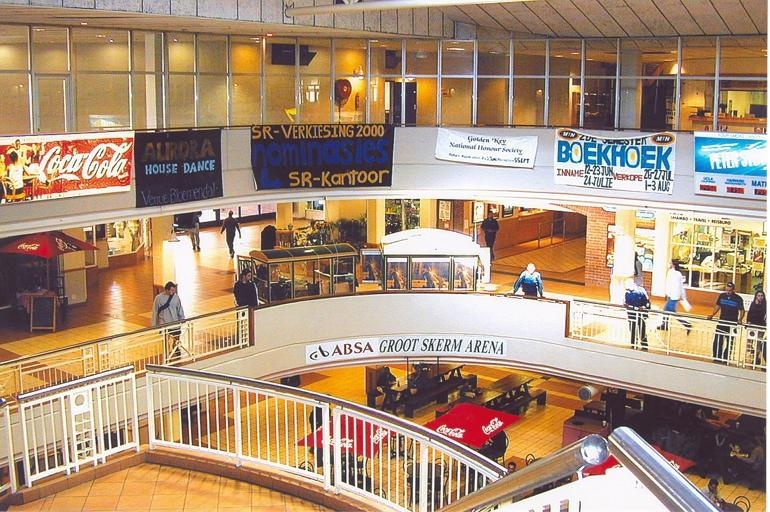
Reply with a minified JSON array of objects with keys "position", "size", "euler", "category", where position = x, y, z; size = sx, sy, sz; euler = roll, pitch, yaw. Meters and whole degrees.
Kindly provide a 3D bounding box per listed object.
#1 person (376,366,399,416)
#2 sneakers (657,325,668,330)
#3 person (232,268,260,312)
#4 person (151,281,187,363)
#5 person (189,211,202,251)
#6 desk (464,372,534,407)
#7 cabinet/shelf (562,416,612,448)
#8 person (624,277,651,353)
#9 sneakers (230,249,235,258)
[{"position":[0.051,4.216,21.871],"size":[0.679,1.173,0.938],"euler":[-1,1,-1],"category":"person"},{"position":[6.782,1.739,16.823],"size":[0.154,0.098,0.156],"euler":[-1,-3,3],"category":"sneakers"},{"position":[-3.585,0.825,17.649],"size":[0.569,0.921,1.445],"euler":[-1,1,-12],"category":"person"},{"position":[-4.917,1.436,15.548],"size":[0.669,1.700,1.093],"euler":[-1,1,-19],"category":"person"},{"position":[-7.315,-0.918,26.531],"size":[0.334,1.455,0.898],"euler":[-1,1,-16],"category":"person"},{"position":[3.658,4.330,22.171],"size":[1.208,0.471,1.652],"euler":[5,9,37],"category":"desk"},{"position":[5.464,4.863,18.713],"size":[1.195,0.538,1.308],"euler":[-1,2,8],"category":"cabinet/shelf"},{"position":[6.186,1.458,16.958],"size":[0.583,1.144,0.615],"euler":[-1,1,19],"category":"person"},{"position":[-5.592,-0.060,25.066],"size":[0.204,0.280,0.100],"euler":[10,5,44],"category":"sneakers"}]
